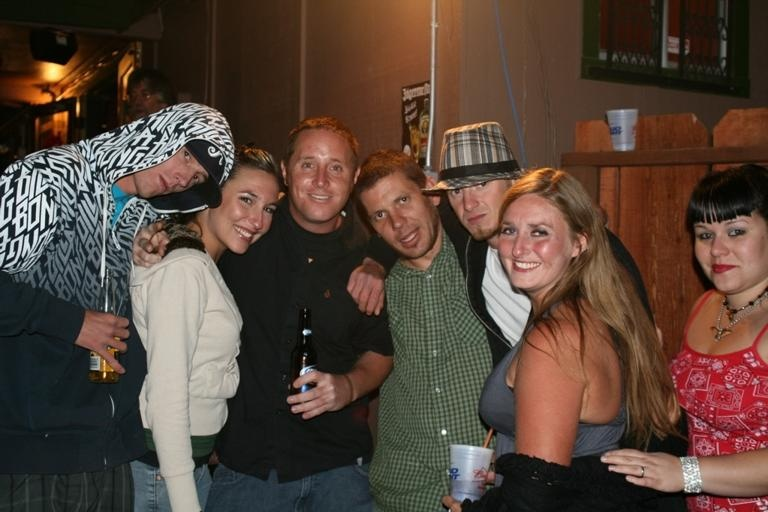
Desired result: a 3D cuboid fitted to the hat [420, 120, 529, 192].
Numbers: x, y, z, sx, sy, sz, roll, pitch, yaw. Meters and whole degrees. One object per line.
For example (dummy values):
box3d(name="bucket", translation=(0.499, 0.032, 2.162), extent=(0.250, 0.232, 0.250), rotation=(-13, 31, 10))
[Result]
box3d(name="hat", translation=(0.614, -0.658, 4.067), extent=(0.544, 0.273, 0.552), rotation=(-8, 26, -44))

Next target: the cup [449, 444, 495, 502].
box3d(name="cup", translation=(0.427, 1.073, 3.349), extent=(0.268, 0.249, 0.253), rotation=(7, -6, 1))
